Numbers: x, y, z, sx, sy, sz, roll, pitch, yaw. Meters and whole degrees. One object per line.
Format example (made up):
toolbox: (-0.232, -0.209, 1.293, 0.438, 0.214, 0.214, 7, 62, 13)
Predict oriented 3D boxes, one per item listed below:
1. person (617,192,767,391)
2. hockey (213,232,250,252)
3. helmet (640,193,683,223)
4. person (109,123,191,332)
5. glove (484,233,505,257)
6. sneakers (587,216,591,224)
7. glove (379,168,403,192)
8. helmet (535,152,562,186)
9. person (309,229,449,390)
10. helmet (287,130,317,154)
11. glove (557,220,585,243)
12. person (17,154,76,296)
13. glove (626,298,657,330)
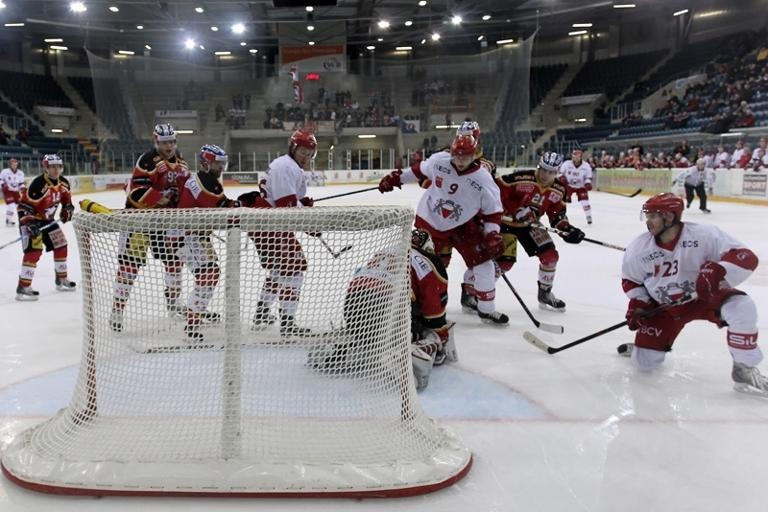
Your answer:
person: (2.631, 0.291, 6.615, 1.159, 1.613, 0.494, 3, 14, 17)
hockey: (-1.145, -0.113, 5.677, 0.338, 0.138, 0.149, 11, 17, 44)
helmet: (2.384, -0.413, 6.647, 0.300, 0.216, 0.241, 8, 3, 21)
person: (-2.012, -0.382, 6.771, 0.627, 1.441, 2.464, -4, 13, -13)
glove: (1.059, -0.117, 7.646, 0.129, 0.233, 0.251, -10, 15, -34)
sneakers: (3.801, -0.667, 14.362, 0.086, 0.145, 0.214, 3, 13, 14)
glove: (0.083, -0.801, 8.419, 0.141, 0.188, 0.304, 10, -22, -39)
helmet: (1.758, -0.937, 8.312, 0.237, 0.359, 0.467, 2, 13, 11)
person: (0.099, 0.542, 6.427, 0.980, 0.471, 1.460, -1, -30, 0)
helmet: (-0.796, -1.113, 7.562, 0.257, 0.223, 0.210, 2, 14, 1)
glove: (2.037, -0.258, 8.466, 0.228, 0.117, 0.304, -2, 15, -15)
person: (-3.910, -0.347, 8.882, 0.696, 1.591, 1.328, -6, 14, -21)
glove: (2.230, 0.499, 6.781, 0.117, 0.266, 0.269, 13, 46, 41)
